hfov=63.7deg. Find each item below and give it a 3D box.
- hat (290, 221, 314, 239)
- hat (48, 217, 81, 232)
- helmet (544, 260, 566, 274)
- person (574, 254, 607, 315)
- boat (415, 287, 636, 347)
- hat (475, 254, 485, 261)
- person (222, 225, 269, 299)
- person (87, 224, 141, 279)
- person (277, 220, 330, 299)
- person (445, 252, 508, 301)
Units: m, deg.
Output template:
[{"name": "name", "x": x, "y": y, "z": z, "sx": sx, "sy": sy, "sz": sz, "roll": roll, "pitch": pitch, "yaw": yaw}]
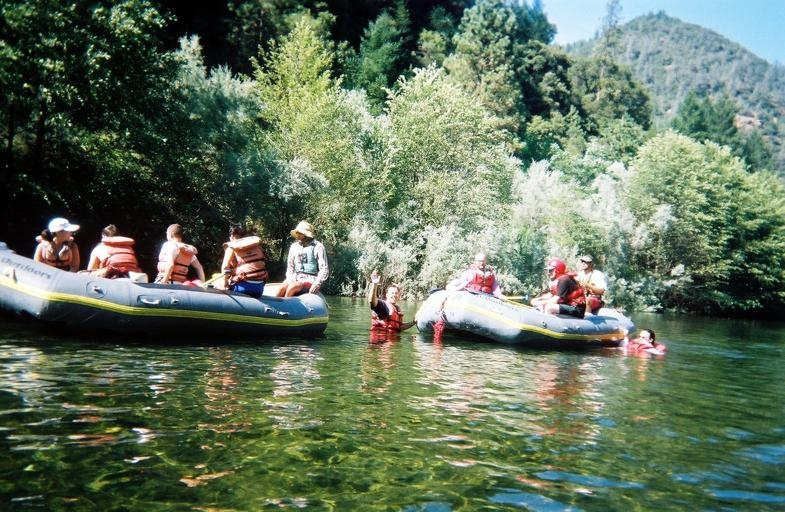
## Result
[{"name": "hat", "x": -1.926, "y": -0.557, "z": 13.407, "sx": 0.330, "sy": 0.311, "sz": 0.503, "roll": 0, "pitch": 10, "yaw": -28}, {"name": "hat", "x": -6.579, "y": -0.593, "z": 12.568, "sx": 0.435, "sy": 0.316, "sz": 0.728, "roll": -1, "pitch": 10, "yaw": -32}, {"name": "helmet", "x": 3.740, "y": 0.269, "z": 14.610, "sx": 0.399, "sy": 0.322, "sz": 0.308, "roll": -15, "pitch": 12, "yaw": 7}, {"name": "person", "x": 4.627, "y": 0.837, "z": 15.225, "sx": 0.916, "sy": 1.660, "sz": 0.880, "roll": 4, "pitch": 8, "yaw": 29}, {"name": "boat", "x": 3.147, "y": 1.575, "z": 14.499, "sx": 3.355, "sy": 0.746, "sz": 2.030, "roll": 11, "pitch": -7, "yaw": -19}, {"name": "hat", "x": 2.066, "y": 0.029, "z": 15.063, "sx": 0.223, "sy": 0.202, "sz": 0.280, "roll": 0, "pitch": -4, "yaw": -36}, {"name": "person", "x": -3.101, "y": 0.120, "z": 13.066, "sx": 1.000, "sy": 1.461, "sz": 1.123, "roll": -8, "pitch": 1, "yaw": 25}, {"name": "person", "x": -5.548, "y": -0.034, "z": 12.612, "sx": 0.997, "sy": 1.189, "sz": 0.902, "roll": -10, "pitch": -7, "yaw": 39}, {"name": "person", "x": -2.037, "y": 0.235, "z": 13.519, "sx": 1.081, "sy": 2.005, "sz": 1.190, "roll": -4, "pitch": -9, "yaw": 40}, {"name": "person", "x": 2.132, "y": 0.757, "z": 15.407, "sx": 0.930, "sy": 1.569, "sz": 0.535, "roll": 2, "pitch": 40, "yaw": 7}]
